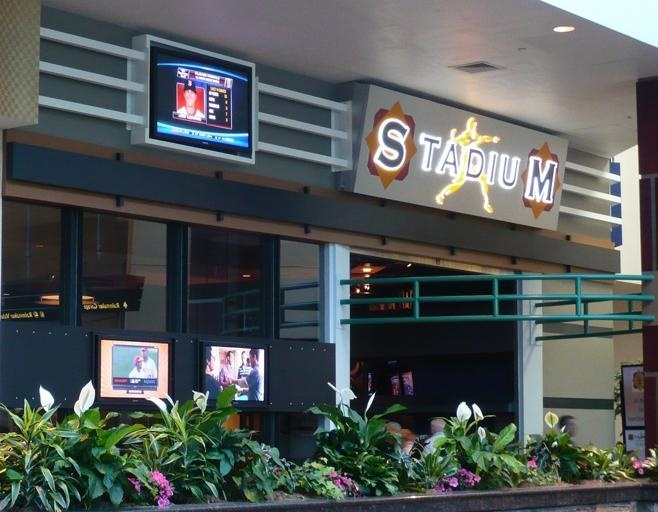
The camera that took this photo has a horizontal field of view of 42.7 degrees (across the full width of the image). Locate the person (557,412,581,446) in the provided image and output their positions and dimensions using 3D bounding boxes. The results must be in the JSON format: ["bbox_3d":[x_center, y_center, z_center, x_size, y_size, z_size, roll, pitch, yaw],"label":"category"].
[{"bbox_3d":[3.907,2.837,13.686,0.316,0.466,1.618,-3,-10,15],"label":"person"}]

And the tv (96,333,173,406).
[{"bbox_3d":[-2.151,1.256,9.210,0.815,0.596,0.105,8,-17,-39],"label":"tv"}]

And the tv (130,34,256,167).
[{"bbox_3d":[-1.652,-1.845,9.938,1.506,1.071,0.196,10,-16,-42],"label":"tv"}]
